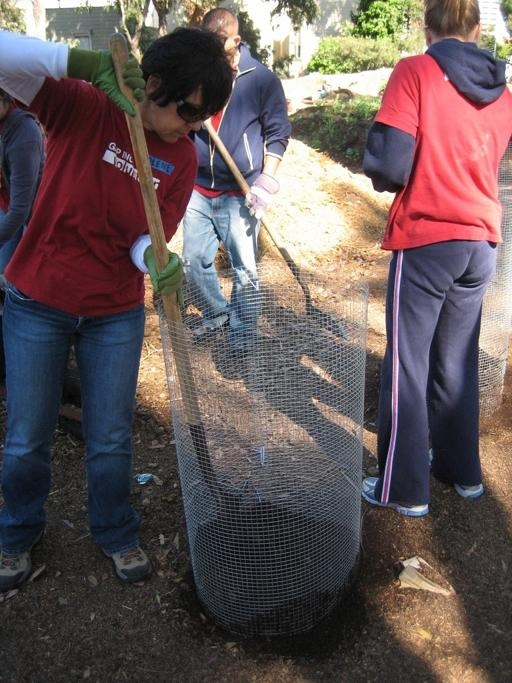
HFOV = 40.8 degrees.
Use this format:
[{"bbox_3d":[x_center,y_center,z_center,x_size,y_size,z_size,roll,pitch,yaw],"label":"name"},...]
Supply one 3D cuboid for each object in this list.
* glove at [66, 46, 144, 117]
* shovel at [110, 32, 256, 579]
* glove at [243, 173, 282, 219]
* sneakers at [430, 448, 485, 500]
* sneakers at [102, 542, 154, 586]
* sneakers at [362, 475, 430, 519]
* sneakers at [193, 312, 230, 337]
[{"bbox_3d":[-0.439,-0.765,2.028,0.259,0.138,0.114,18,16,7],"label":"glove"},{"bbox_3d":[-0.262,-0.098,2.108,0.119,1.518,0.094,1,12,35],"label":"shovel"},{"bbox_3d":[0.025,-0.810,3.814,0.161,0.077,0.262,34,43,-8],"label":"glove"},{"bbox_3d":[0.898,0.605,3.214,0.126,0.145,0.348,-10,37,-11],"label":"sneakers"},{"bbox_3d":[-0.468,0.838,2.602,0.086,0.097,0.228,-13,12,-42],"label":"sneakers"},{"bbox_3d":[0.582,0.681,3.004,0.129,0.125,0.287,-14,32,-32],"label":"sneakers"},{"bbox_3d":[-0.165,-0.053,2.415,0.043,0.061,0.184,5,11,26],"label":"sneakers"}]
